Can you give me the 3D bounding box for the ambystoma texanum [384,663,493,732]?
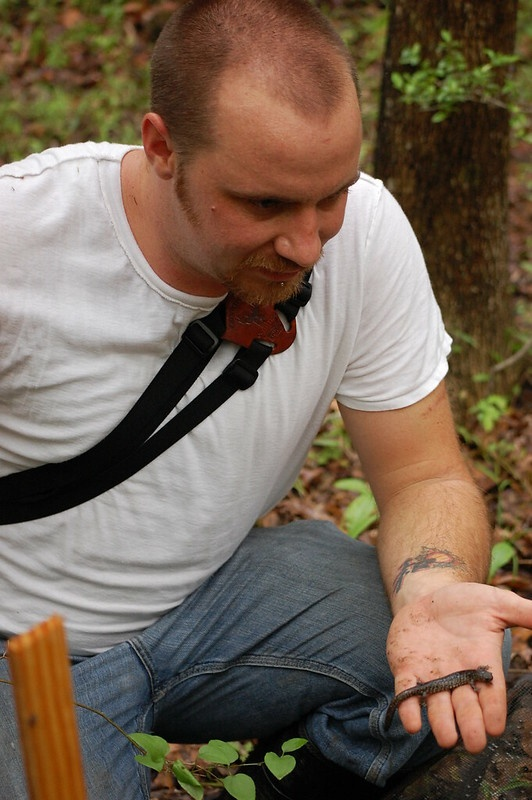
[{"bbox_3d":[0.423,0.738,2.077,0.274,0.071,0.129,-14,40,25],"label":"ambystoma texanum"}]
